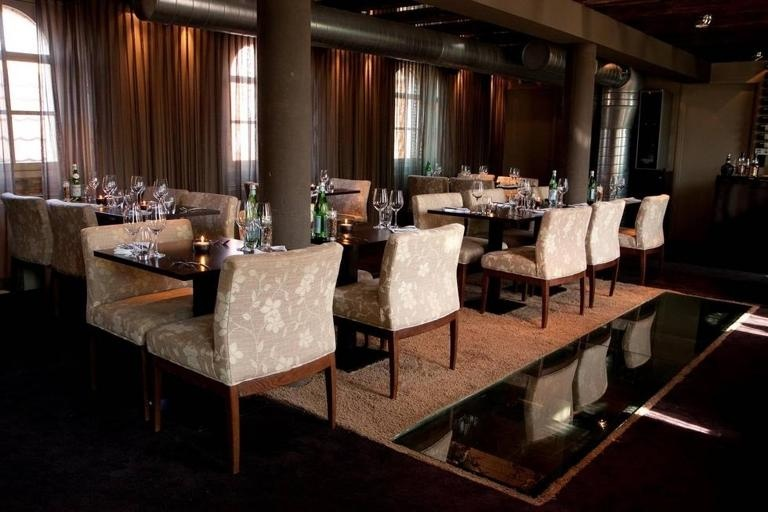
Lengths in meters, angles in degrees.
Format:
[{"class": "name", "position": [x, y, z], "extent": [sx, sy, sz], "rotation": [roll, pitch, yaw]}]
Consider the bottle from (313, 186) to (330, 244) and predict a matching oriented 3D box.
[{"class": "bottle", "position": [-0.534, -0.340, 4.399], "extent": [0.149, 0.411, 0.604], "rotation": [-3, 14, -7]}]

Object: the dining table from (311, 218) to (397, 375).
[{"class": "dining table", "position": [-0.232, 0.243, 4.916], "extent": [0.946, 1.176, 0.970], "rotation": [12, 17, 37]}]

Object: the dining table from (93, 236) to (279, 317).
[{"class": "dining table", "position": [-1.391, 0.043, 3.605], "extent": [0.704, 0.452, 0.695], "rotation": [-12, 20, -42]}]

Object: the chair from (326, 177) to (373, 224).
[{"class": "chair", "position": [-0.594, -0.839, 7.833], "extent": [0.596, 0.887, 0.698], "rotation": [8, 6, 35]}]

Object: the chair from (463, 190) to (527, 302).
[{"class": "chair", "position": [1.235, -0.112, 5.841], "extent": [0.594, 0.582, 1.127], "rotation": [9, 17, 31]}]

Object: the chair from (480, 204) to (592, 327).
[{"class": "chair", "position": [1.529, -0.065, 5.597], "extent": [1.150, 1.528, 1.068], "rotation": [8, 11, 43]}]

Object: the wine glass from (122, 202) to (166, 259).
[{"class": "wine glass", "position": [-1.681, -0.172, 3.700], "extent": [0.278, 0.336, 0.301], "rotation": [14, 20, 18]}]
